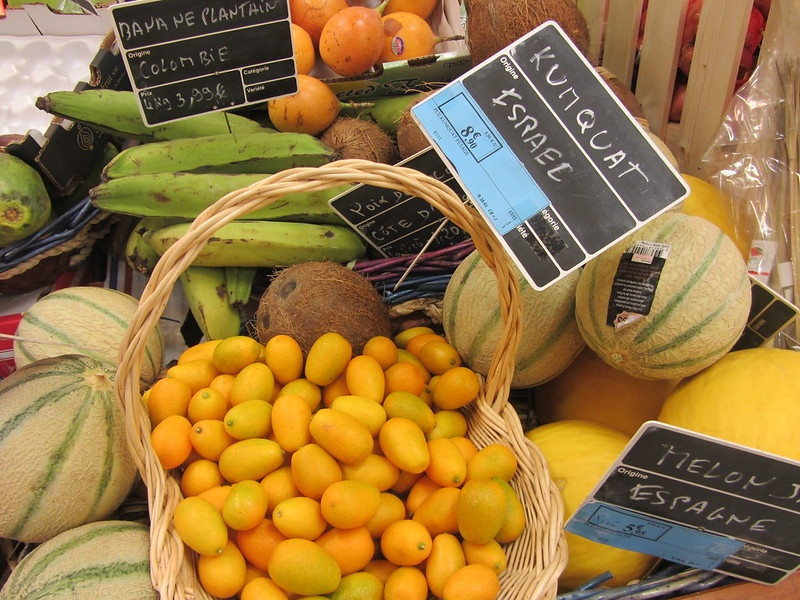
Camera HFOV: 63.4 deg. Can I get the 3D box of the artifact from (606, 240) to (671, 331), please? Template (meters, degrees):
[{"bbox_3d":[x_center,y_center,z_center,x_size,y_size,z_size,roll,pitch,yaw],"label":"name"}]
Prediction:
[{"bbox_3d":[0.501,-0.036,1.378,0.110,0.192,0.047,18,11,24],"label":"artifact"}]

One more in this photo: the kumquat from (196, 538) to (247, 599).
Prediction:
[{"bbox_3d":[-0.364,0.551,1.361,0.087,0.109,0.088,5,7,35],"label":"kumquat"}]
